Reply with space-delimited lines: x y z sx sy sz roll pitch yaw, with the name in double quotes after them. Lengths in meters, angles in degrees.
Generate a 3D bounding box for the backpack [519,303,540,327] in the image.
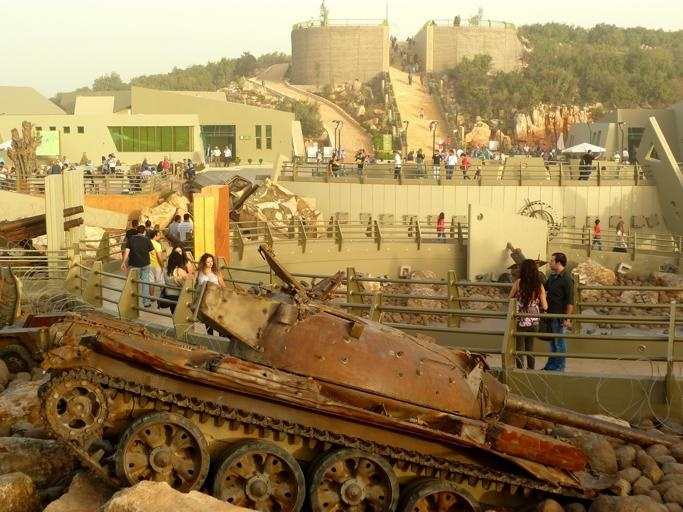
3.122 0.992 12.141 0.305 0.538 0.232 0 -1 -18 "backpack"
